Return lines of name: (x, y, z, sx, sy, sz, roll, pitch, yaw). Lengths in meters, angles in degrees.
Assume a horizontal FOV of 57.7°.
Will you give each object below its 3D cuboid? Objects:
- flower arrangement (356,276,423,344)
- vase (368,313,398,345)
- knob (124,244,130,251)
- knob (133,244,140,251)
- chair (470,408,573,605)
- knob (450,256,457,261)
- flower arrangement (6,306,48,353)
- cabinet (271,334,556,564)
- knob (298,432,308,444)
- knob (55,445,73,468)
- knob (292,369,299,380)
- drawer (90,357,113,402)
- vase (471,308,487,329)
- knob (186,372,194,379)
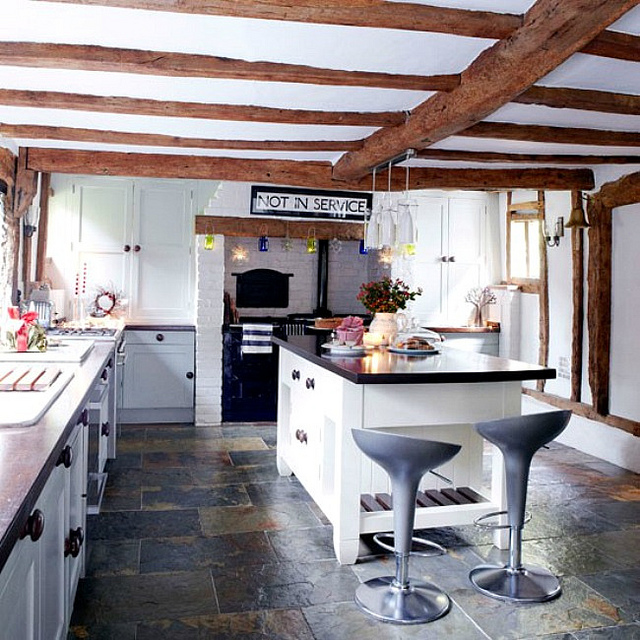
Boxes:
flower arrangement: (0.458, -0.066, 3.977, 0.257, 0.444, 0.337, -1, 4, -38)
vase: (0.417, 0.050, 3.886, 0.230, 0.199, 0.212, -2, -2, 17)
knob: (-1.950, -0.737, 5.827, 0.052, 0.052, 0.048, 1, 4, 5)
knob: (-1.865, -0.735, 5.857, 0.053, 0.064, 0.022, 0, 4, -29)
chair: (0.908, 0.821, 2.711, 0.447, 0.858, 0.398, 2, 3, 9)
knob: (1.477, -0.690, 6.427, 0.070, 0.042, 0.015, -4, 2, -13)
flower arrangement: (-1.648, 0.048, 3.244, 0.202, 0.236, 0.247, 0, 3, -24)
cabinet: (0.346, 0.728, 3.812, 1.415, 0.880, 2.100, 1, -1, -9)
knob: (-0.113, 0.750, 3.696, 0.045, 0.064, 0.067, 0, 7, -22)
knob: (-0.820, 0.444, 1.842, 0.020, 0.068, 0.136, 1, 3, -15)
knob: (-0.171, 0.374, 3.927, 0.053, 0.045, 0.049, -1, -1, 2)
drawer: (-1.255, 0.345, 3.293, 0.056, 0.159, 0.129, 13, -23, 7)
vase: (1.763, -0.034, 6.435, 0.093, 0.204, 0.247, 4, 4, 40)
knob: (-1.311, 0.543, 5.762, 0.065, 0.055, 0.036, 1, 12, -2)
